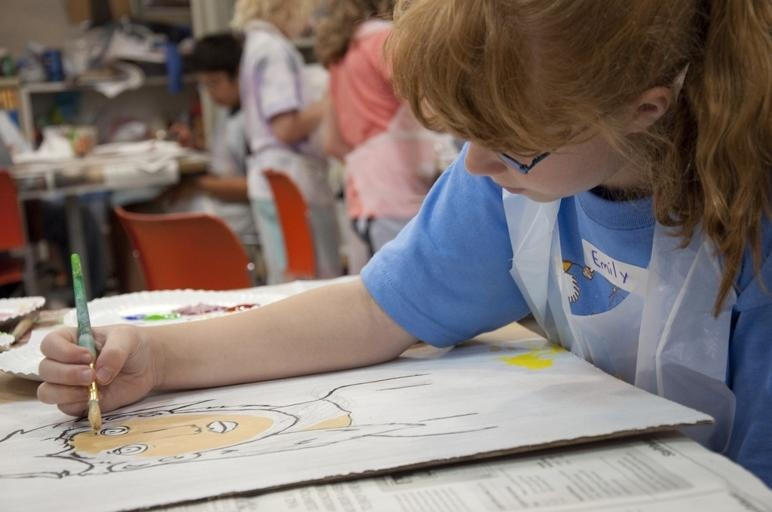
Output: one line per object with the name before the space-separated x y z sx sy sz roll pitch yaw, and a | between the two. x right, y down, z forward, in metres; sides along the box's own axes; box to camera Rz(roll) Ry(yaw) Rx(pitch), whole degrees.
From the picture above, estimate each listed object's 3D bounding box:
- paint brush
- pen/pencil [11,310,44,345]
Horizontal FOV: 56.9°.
paint brush | -0.452 0.124 1.077 0.027 0.250 0.028 -10 -4 1
pen/pencil | -0.588 0.120 1.176 0.010 0.012 0.073 -12 24 27
